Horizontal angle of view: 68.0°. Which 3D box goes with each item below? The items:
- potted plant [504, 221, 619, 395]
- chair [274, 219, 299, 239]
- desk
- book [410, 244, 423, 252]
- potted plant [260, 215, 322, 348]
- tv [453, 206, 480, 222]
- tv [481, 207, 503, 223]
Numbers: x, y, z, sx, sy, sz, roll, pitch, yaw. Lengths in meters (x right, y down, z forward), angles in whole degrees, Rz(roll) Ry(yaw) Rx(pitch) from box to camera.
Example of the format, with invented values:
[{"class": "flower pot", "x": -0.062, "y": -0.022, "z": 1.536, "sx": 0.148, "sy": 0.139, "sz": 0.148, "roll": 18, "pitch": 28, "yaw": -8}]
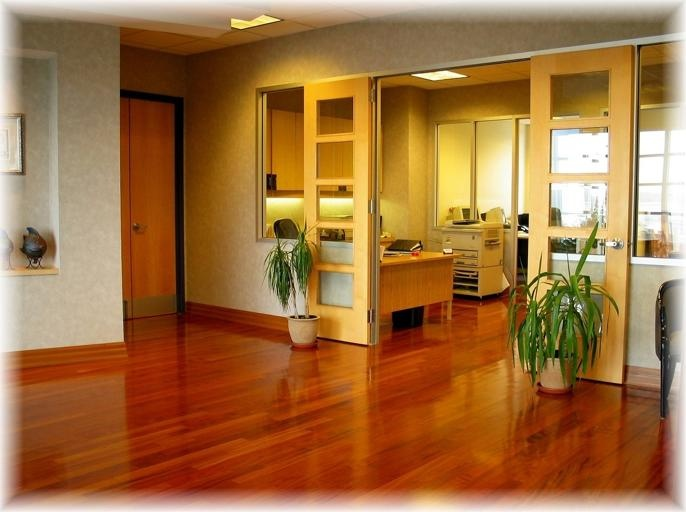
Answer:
[{"class": "potted plant", "x": 1.753, "y": 0.422, "z": 4.097, "sx": 0.825, "sy": 1.372, "sz": 1.097, "roll": 3, "pitch": 6, "yaw": 29}, {"class": "chair", "x": -0.698, "y": -0.326, "z": 6.086, "sx": 0.102, "sy": 0.230, "sz": 0.281, "roll": -7, "pitch": 3, "yaw": -37}, {"class": "desk", "x": 0.747, "y": 0.345, "z": 6.533, "sx": 1.223, "sy": 0.793, "sz": 0.688, "roll": -6, "pitch": 18, "yaw": -20}, {"class": "book", "x": 0.973, "y": -0.111, "z": 6.669, "sx": 0.090, "sy": 0.116, "sz": 0.582, "roll": 2, "pitch": 6, "yaw": 15}, {"class": "potted plant", "x": -0.572, "y": 0.287, "z": 5.751, "sx": 0.561, "sy": 1.284, "sz": 0.945, "roll": -1, "pitch": 5, "yaw": -9}, {"class": "tv", "x": 2.156, "y": -0.765, "z": 9.027, "sx": 0.441, "sy": 0.343, "sz": 0.638, "roll": 1, "pitch": 3, "yaw": 8}, {"class": "tv", "x": 2.670, "y": -0.749, "z": 9.054, "sx": 0.419, "sy": 0.270, "sz": 0.050, "roll": 4, "pitch": 6, "yaw": 36}]
